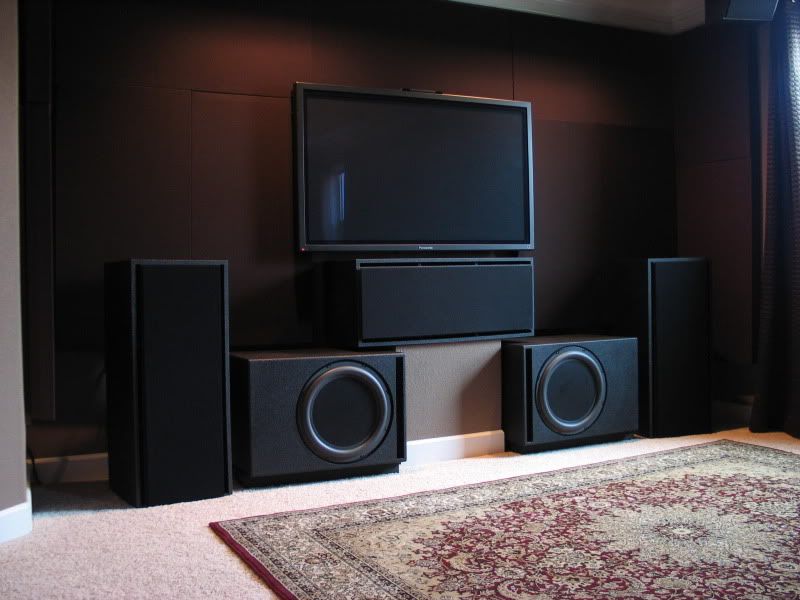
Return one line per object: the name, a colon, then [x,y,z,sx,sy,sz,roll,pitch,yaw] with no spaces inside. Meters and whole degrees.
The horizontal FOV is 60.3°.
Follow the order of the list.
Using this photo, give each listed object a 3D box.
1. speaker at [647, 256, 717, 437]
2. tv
speaker: [1.663,0.278,4.107,0.429,1.035,0.120,-3,6,-16]
tv: [0.019,-0.729,3.806,1.015,0.631,0.043,-1,0,-22]
